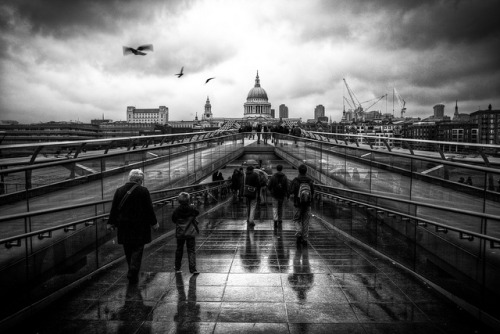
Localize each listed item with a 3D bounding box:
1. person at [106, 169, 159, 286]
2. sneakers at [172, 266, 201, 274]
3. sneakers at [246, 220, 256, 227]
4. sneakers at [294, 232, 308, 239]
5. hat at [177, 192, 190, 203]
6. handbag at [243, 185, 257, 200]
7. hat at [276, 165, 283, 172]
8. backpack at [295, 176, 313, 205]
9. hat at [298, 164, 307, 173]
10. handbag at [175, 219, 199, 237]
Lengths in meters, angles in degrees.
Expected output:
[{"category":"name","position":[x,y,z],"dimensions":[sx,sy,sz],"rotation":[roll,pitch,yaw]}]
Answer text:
[{"category":"person","position":[-2.163,1.035,7.103],"dimensions":[0.711,1.955,0.713],"rotation":[4,7,39]},{"category":"sneakers","position":[-1.217,1.994,7.399],"dimensions":[0.530,0.215,0.166],"rotation":[-1,5,3]},{"category":"sneakers","position":[0.033,1.684,11.520],"dimensions":[0.217,0.086,0.296],"rotation":[4,-4,-10]},{"category":"sneakers","position":[1.279,1.647,9.379],"dimensions":[0.224,0.159,0.177],"rotation":[-1,2,2]},{"category":"hat","position":[-1.385,0.597,7.813],"dimensions":[0.226,0.260,0.293],"rotation":[3,4,1]},{"category":"handbag","position":[0.061,0.720,11.480],"dimensions":[0.510,0.455,0.362],"rotation":[6,-2,-23]},{"category":"hat","position":[0.831,0.020,10.716],"dimensions":[0.180,0.222,0.230],"rotation":[3,15,6]},{"category":"backpack","position":[1.355,0.598,9.580],"dimensions":[0.397,0.729,0.324],"rotation":[1,6,18]},{"category":"hat","position":[1.346,0.034,9.710],"dimensions":[0.227,0.268,0.281],"rotation":[2,4,5]},{"category":"handbag","position":[-1.252,1.202,7.640],"dimensions":[0.427,0.359,0.195],"rotation":[-2,6,-17]}]
